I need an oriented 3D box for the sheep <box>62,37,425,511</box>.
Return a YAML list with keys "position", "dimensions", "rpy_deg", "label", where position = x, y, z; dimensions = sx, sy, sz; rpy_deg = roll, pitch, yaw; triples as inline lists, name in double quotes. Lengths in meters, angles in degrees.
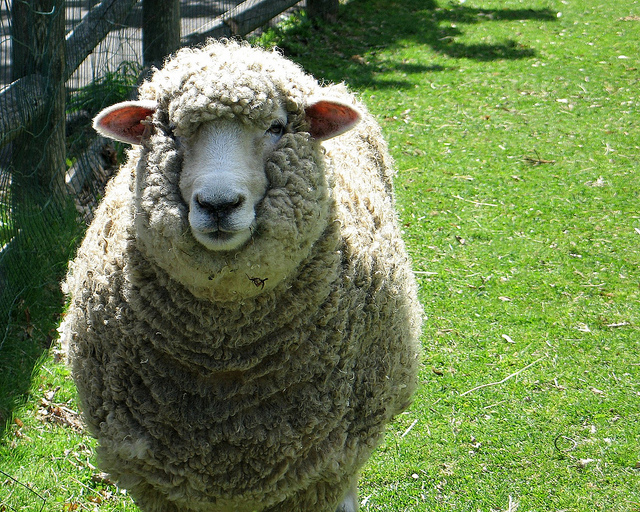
- position: [-0.399, 0.188, 4.244]
  dimensions: [1.984, 2.452, 1.369]
  rpy_deg: [-5, 30, -18]
  label: "sheep"
